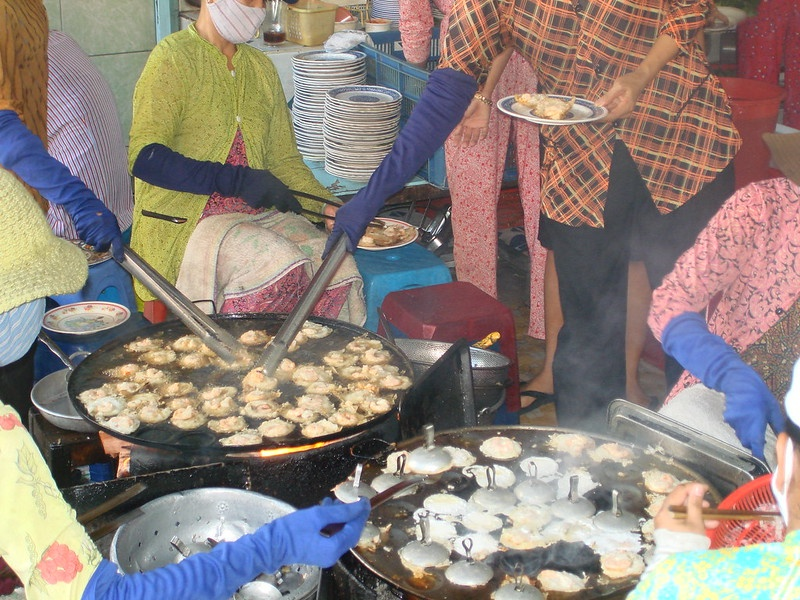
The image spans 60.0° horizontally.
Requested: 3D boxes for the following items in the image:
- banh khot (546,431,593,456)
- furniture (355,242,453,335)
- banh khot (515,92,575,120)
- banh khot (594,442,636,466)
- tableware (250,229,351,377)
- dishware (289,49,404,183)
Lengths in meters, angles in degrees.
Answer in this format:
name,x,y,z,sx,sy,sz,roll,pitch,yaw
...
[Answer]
name,x,y,z,sx,sy,sz,roll,pitch,yaw
banh khot,0.651,0.535,2.653,0.107,0.014,0.094,-19,35,-26
furniture,0.049,-0.132,4.658,0.626,0.395,0.565,-11,42,-16
banh khot,0.751,-1.022,3.608,0.188,0.048,0.255,-25,41,-33
banh khot,0.799,0.562,2.588,0.089,0.023,0.095,-28,37,-37
tableware,-0.468,0.026,3.603,0.130,0.898,0.132,43,13,32
dishware,-0.367,-1.435,5.336,0.700,0.658,1.326,-7,30,-14
